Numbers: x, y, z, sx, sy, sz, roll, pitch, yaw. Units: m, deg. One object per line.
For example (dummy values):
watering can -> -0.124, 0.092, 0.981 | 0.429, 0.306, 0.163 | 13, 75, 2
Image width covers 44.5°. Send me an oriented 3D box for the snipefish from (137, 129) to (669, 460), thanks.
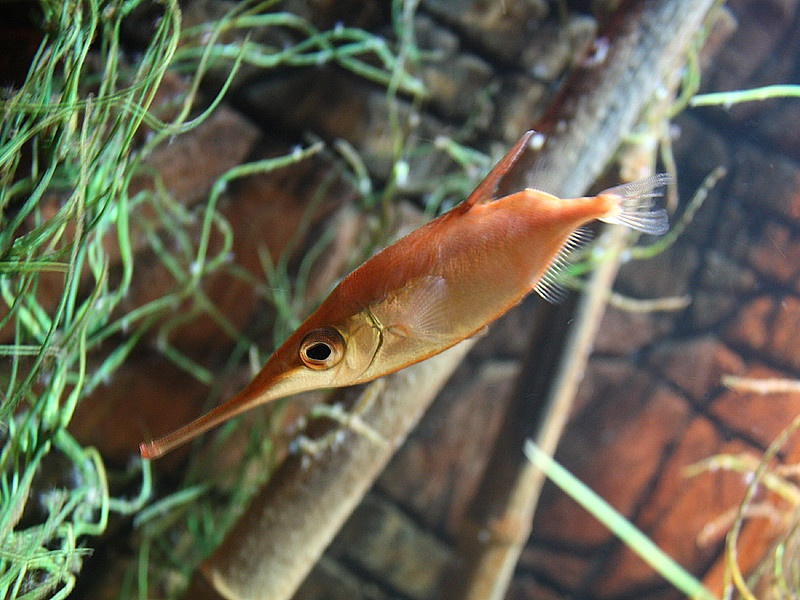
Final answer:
snipefish -> 0.021, 0.002, 0.904 | 0.143, 0.559, 0.121 | 54, -16, 16
